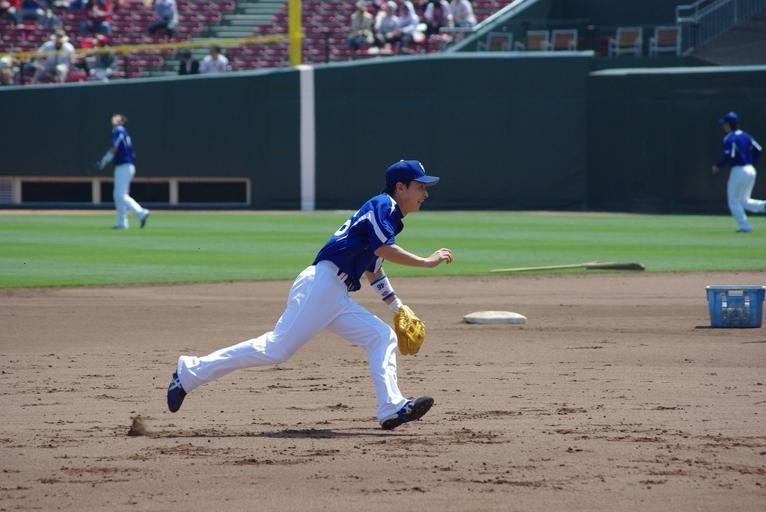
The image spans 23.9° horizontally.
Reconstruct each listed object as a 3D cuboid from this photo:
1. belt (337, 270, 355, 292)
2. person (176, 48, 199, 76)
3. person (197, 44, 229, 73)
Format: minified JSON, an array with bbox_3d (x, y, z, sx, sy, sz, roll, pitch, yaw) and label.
[{"bbox_3d":[-0.593,0.385,28.257,0.111,0.297,0.233,-26,19,-22],"label":"belt"},{"bbox_3d":[-5.149,-5.115,47.737,0.547,0.665,0.370,0,1,-7],"label":"person"},{"bbox_3d":[-4.459,-5.186,47.775,0.789,0.725,0.360,0,1,-2],"label":"person"}]
